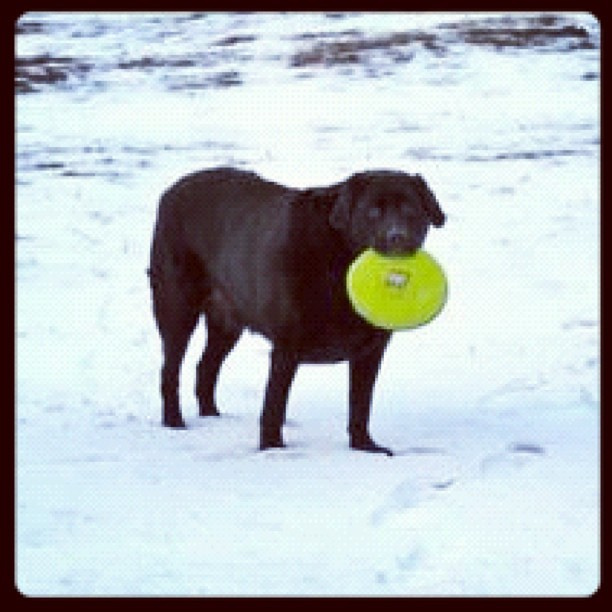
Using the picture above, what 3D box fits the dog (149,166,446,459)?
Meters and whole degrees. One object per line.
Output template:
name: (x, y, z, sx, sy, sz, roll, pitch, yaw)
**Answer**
dog: (-0.056, -0.004, 4.903, 0.535, 1.116, 1.586, -6, 11, -41)
